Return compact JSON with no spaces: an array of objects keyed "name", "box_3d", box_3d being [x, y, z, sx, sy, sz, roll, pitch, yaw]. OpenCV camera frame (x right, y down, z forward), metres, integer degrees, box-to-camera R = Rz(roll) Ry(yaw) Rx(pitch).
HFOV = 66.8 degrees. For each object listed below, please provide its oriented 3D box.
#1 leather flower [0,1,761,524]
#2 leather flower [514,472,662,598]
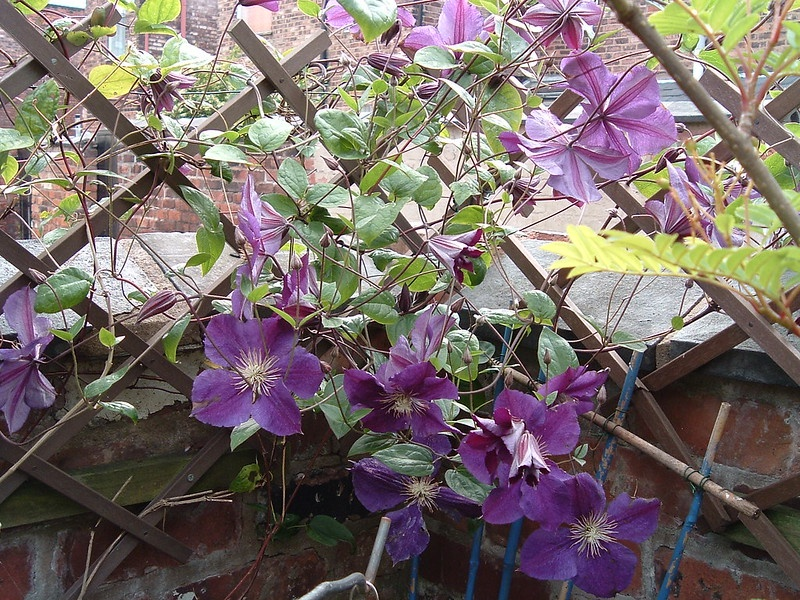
[{"name":"leather flower","box_3d":[-0.080,-0.081,1.030,0.954,1.239,0.189,5,-11,2]},{"name":"leather flower","box_3d":[0.325,0.438,1.165,0.242,0.251,0.055,-25,12,3]}]
